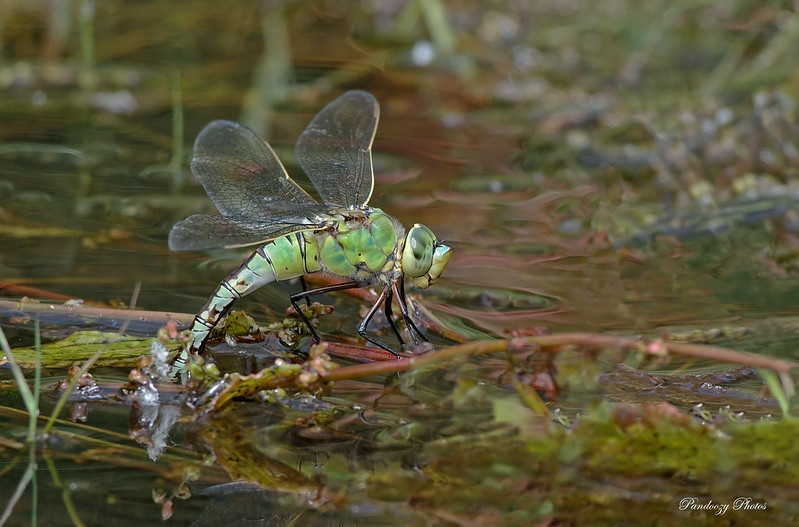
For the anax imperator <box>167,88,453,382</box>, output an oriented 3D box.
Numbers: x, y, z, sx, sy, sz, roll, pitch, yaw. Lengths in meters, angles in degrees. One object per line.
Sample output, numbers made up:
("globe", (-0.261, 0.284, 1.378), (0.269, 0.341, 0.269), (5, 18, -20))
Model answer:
("anax imperator", (-0.159, -0.024, 1.457), (0.506, 0.419, 0.529), (0, -3, -4))
